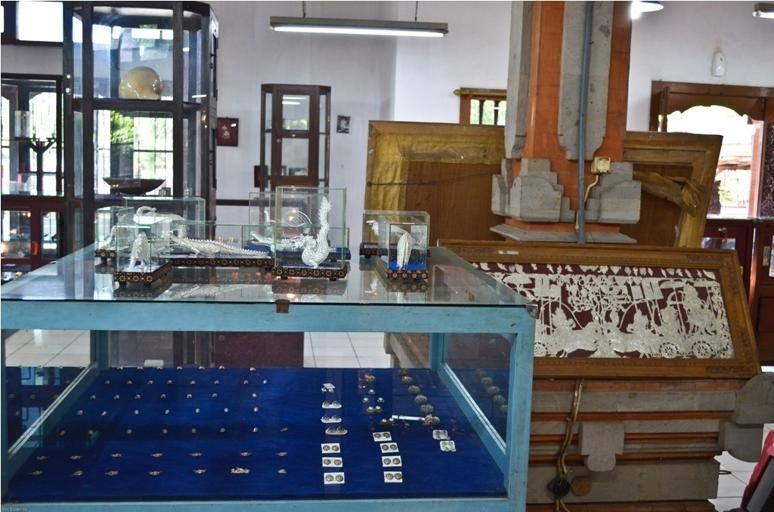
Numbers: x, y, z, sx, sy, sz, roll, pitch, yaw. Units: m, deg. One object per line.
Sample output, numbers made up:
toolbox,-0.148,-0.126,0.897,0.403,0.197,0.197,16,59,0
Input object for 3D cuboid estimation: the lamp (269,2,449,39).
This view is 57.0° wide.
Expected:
lamp,-0.276,-2.804,8.363,1.776,0.377,0.239,0,-1,-3

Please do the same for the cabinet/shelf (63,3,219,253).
cabinet/shelf,-2.022,-1.065,5.961,1.309,2.076,0.756,-4,11,-23

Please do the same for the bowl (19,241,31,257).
bowl,-3.698,-0.070,7.275,0.172,0.150,0.089,1,-1,-19

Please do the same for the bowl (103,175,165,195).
bowl,-2.105,-0.586,5.912,0.412,0.126,0.188,0,4,-16
